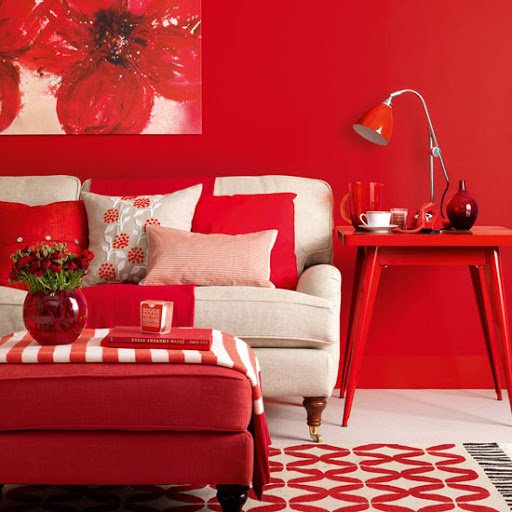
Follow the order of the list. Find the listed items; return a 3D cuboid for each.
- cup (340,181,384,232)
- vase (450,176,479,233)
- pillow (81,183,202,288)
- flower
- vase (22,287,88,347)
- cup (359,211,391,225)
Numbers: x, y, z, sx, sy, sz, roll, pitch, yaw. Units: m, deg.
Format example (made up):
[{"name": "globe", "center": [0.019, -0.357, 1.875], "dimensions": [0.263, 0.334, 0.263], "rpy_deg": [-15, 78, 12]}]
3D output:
[{"name": "cup", "center": [0.481, -0.224, 2.368], "dimensions": [0.228, 0.198, 0.143], "rpy_deg": [0, -5, 35]}, {"name": "vase", "center": [0.890, -0.224, 2.292], "dimensions": [0.112, 0.228, 0.167], "rpy_deg": [-1, 1, -27]}, {"name": "pillow", "center": [-0.517, -0.065, 2.332], "dimensions": [0.623, 0.429, 0.216], "rpy_deg": [1, -3, 16]}, {"name": "flower", "center": [-0.559, 0.032, 1.402], "dimensions": [0.183, 0.130, 0.155], "rpy_deg": [0, 1, 21]}, {"name": "vase", "center": [-0.558, 0.172, 1.430], "dimensions": [0.185, 0.130, 0.175], "rpy_deg": [-1, -3, -31]}, {"name": "cup", "center": [0.521, -0.156, 2.226], "dimensions": [0.104, 0.056, 0.080], "rpy_deg": [-2, 5, 2]}]
